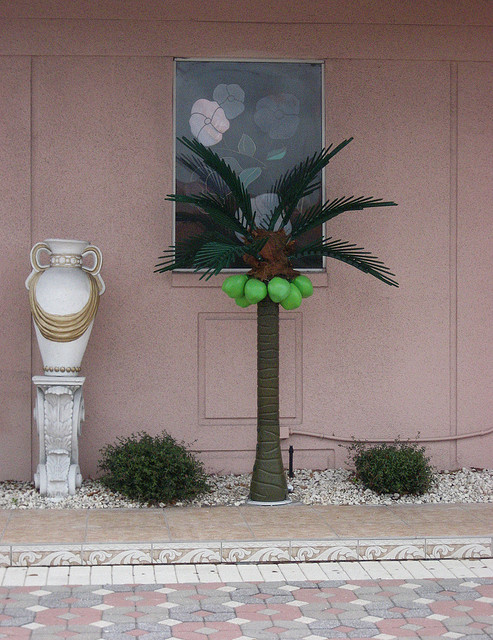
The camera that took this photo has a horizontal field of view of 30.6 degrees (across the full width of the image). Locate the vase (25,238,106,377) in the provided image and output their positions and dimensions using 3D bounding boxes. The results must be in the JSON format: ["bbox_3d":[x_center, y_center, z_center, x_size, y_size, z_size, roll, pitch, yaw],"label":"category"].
[{"bbox_3d":[-1.372,-0.101,6.836,0.585,1.043,0.359,1,-5,-10],"label":"vase"}]

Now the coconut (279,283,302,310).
[{"bbox_3d":[0.337,-0.172,6.589,0.199,0.189,0.187,-1,-21,3],"label":"coconut"}]

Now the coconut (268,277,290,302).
[{"bbox_3d":[0.216,-0.218,6.437,0.185,0.141,0.167,5,-19,-5],"label":"coconut"}]

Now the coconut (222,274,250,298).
[{"bbox_3d":[-0.084,-0.251,6.534,0.181,0.166,0.197,0,-4,0],"label":"coconut"}]
